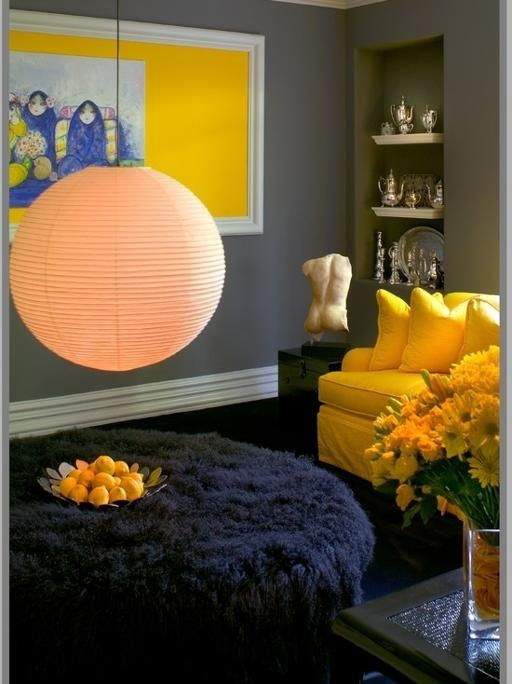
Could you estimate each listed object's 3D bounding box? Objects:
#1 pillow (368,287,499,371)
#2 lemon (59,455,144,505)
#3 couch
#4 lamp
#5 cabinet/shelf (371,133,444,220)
[{"bbox_3d":[1.036,-0.051,3.373,0.587,0.449,0.593,7,-1,-29],"label":"pillow"},{"bbox_3d":[-0.602,0.548,2.256,0.196,0.102,0.202,2,3,-14],"label":"lemon"},{"bbox_3d":[0.954,0.286,3.505,0.985,1.350,1.197,3,-2,-25],"label":"couch"},{"bbox_3d":[-0.389,-0.326,1.726,0.645,0.633,0.569,0,4,2],"label":"lamp"},{"bbox_3d":[1.293,-1.403,4.870,0.773,0.804,0.279,3,3,40],"label":"cabinet/shelf"}]
